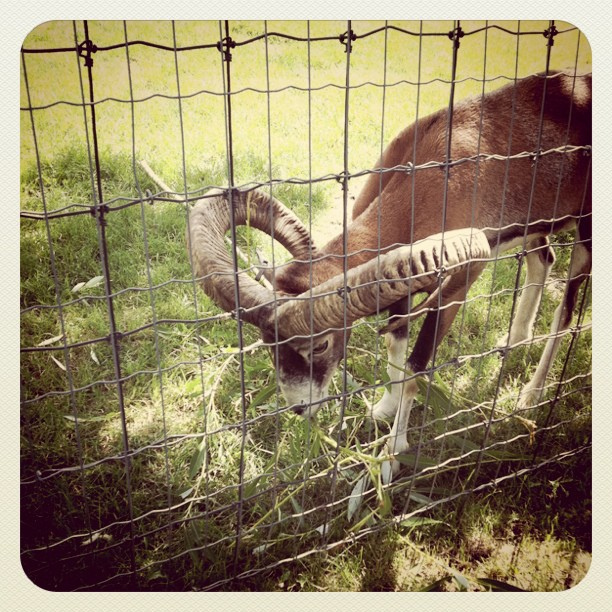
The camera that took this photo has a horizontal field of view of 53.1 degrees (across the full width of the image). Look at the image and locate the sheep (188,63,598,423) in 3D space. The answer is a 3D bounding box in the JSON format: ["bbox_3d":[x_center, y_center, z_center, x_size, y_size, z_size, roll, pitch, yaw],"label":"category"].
[{"bbox_3d":[0.354,-0.153,1.893,1.404,1.136,0.845,-2,8,-14],"label":"sheep"}]
